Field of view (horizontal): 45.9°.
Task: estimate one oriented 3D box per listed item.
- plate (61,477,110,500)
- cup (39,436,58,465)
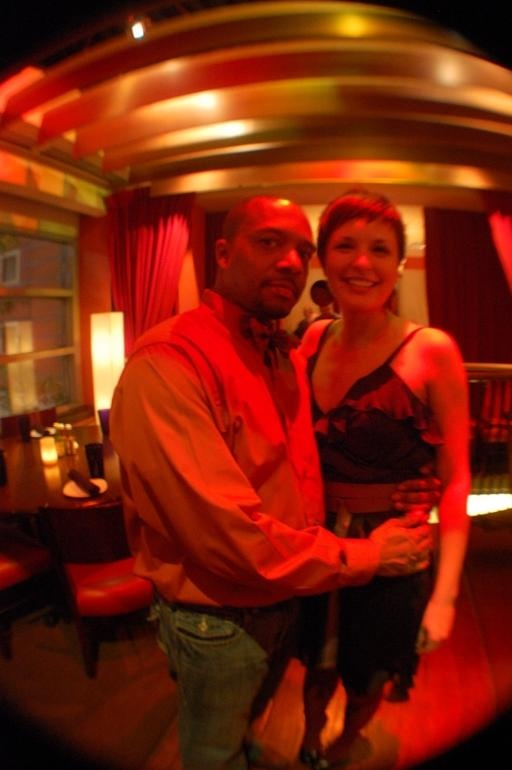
[{"bbox_3d":[-0.501,0.296,1.777,0.123,0.030,0.201,-5,8,-14],"label":"plate"},{"bbox_3d":[-0.709,0.220,2.066,0.056,0.091,0.123,-6,8,-18],"label":"cup"}]
